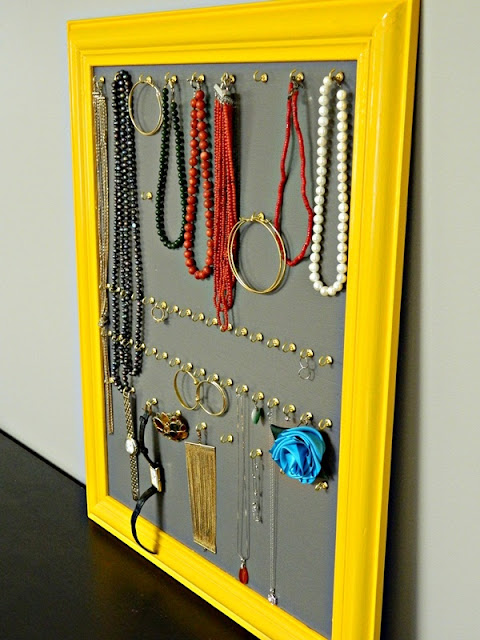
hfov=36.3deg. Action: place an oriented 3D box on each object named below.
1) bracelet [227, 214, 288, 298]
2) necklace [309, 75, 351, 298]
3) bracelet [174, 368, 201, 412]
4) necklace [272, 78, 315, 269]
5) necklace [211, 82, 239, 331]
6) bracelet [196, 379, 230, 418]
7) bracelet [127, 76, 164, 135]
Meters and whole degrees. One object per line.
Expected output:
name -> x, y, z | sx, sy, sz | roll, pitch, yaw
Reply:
bracelet -> 0.026, -0.092, 0.999 | 0.013, 0.098, 0.093 | -13, 24, -38
necklace -> 0.114, -0.160, 0.893 | 0.050, 0.265, 0.083 | 5, 3, 6
bracelet -> -0.090, 0.113, 1.191 | 0.015, 0.062, 0.059 | -6, 10, -23
necklace -> 0.073, -0.186, 0.931 | 0.050, 0.237, 0.066 | 4, 3, 1
necklace -> -0.021, -0.156, 1.026 | 0.044, 0.347, 0.113 | 4, 3, 1
bracelet -> -0.041, 0.122, 1.141 | 0.049, 0.062, 0.017 | 13, 28, 41
bracelet -> -0.147, -0.332, 1.129 | 0.068, 0.083, 0.014 | 11, 20, 44
